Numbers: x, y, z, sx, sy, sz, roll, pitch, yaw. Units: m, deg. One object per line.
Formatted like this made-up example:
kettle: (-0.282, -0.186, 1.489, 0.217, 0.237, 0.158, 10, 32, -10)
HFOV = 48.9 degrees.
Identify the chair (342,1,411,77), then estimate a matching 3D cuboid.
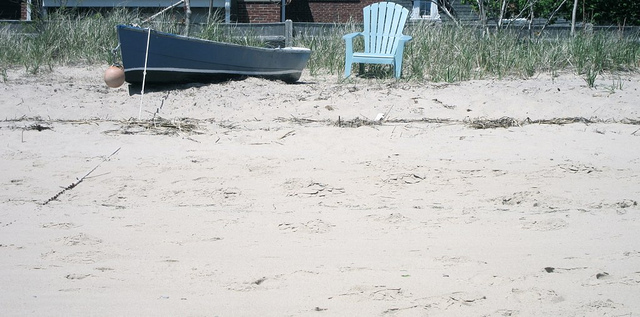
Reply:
chair: (1.107, -2.710, 15.301, 1.649, 1.498, 1.753, 4, 34, 14)
